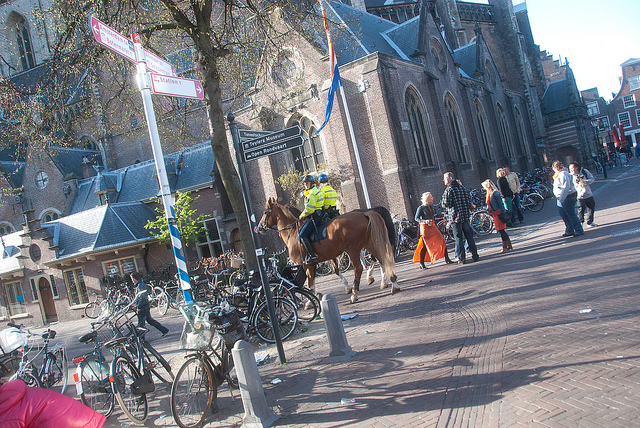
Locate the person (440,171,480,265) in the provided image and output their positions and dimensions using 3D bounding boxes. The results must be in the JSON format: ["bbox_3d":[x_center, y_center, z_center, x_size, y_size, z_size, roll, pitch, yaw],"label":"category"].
[{"bbox_3d":[5.005,0.135,23.902,1.002,3.300,0.713,-12,-3,25],"label":"person"}]

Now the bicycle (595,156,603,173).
[{"bbox_3d":[21.271,-3.696,50.651,0.334,1.356,4.245,-12,-3,23],"label":"bicycle"}]

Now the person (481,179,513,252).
[{"bbox_3d":[7.012,0.161,26.228,0.960,3.131,1.402,-6,-32,4],"label":"person"}]

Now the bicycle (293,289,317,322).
[{"bbox_3d":[-0.443,2.983,21.411,0.333,0.932,0.921,-19,-1,-19],"label":"bicycle"}]

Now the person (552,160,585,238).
[{"bbox_3d":[8.829,-0.556,23.739,0.728,2.902,0.825,-12,-3,21],"label":"person"}]

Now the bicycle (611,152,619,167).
[{"bbox_3d":[23.793,-4.380,53.460,0.481,1.071,2.119,-12,-3,24],"label":"bicycle"}]

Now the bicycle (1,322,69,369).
[{"bbox_3d":[-8.580,3.991,20.043,1.921,1.235,1.238,0,-6,8],"label":"bicycle"}]

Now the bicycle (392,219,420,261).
[{"bbox_3d":[3.557,0.999,28.287,1.132,1.660,1.288,-11,-3,-1],"label":"bicycle"}]

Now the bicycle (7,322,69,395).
[{"bbox_3d":[-8.207,4.380,19.647,1.338,1.614,1.162,-11,-3,1],"label":"bicycle"}]

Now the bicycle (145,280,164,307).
[{"bbox_3d":[-7.627,3.724,30.918,0.597,0.947,1.684,-10,-4,-17],"label":"bicycle"}]

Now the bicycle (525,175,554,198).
[{"bbox_3d":[13.246,-1.583,39.683,2.372,1.551,1.197,0,4,9],"label":"bicycle"}]
